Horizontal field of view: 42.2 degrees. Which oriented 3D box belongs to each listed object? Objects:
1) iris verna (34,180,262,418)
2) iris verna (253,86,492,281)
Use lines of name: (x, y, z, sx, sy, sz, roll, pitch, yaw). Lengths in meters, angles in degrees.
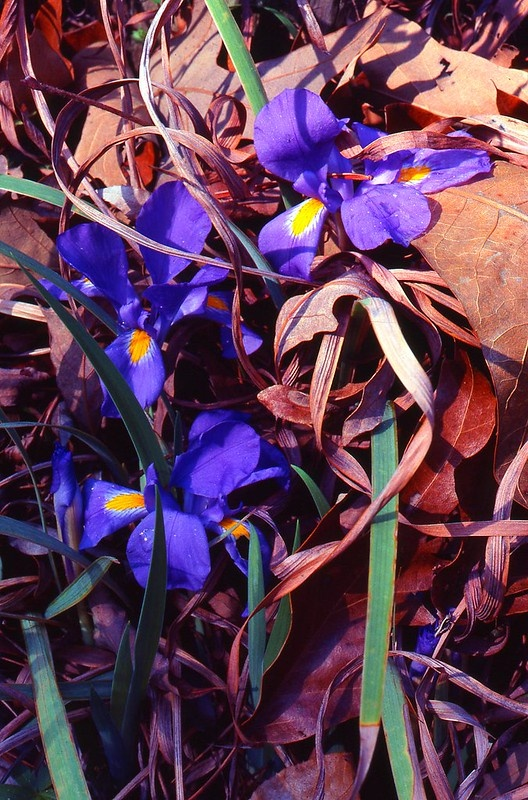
iris verna: (-0.114, -0.137, 0.830, 0.219, 0.320, 0.196, -3, 31, 1)
iris verna: (0.114, -0.264, 0.824, 0.232, 0.208, 0.258, 23, 45, 39)
